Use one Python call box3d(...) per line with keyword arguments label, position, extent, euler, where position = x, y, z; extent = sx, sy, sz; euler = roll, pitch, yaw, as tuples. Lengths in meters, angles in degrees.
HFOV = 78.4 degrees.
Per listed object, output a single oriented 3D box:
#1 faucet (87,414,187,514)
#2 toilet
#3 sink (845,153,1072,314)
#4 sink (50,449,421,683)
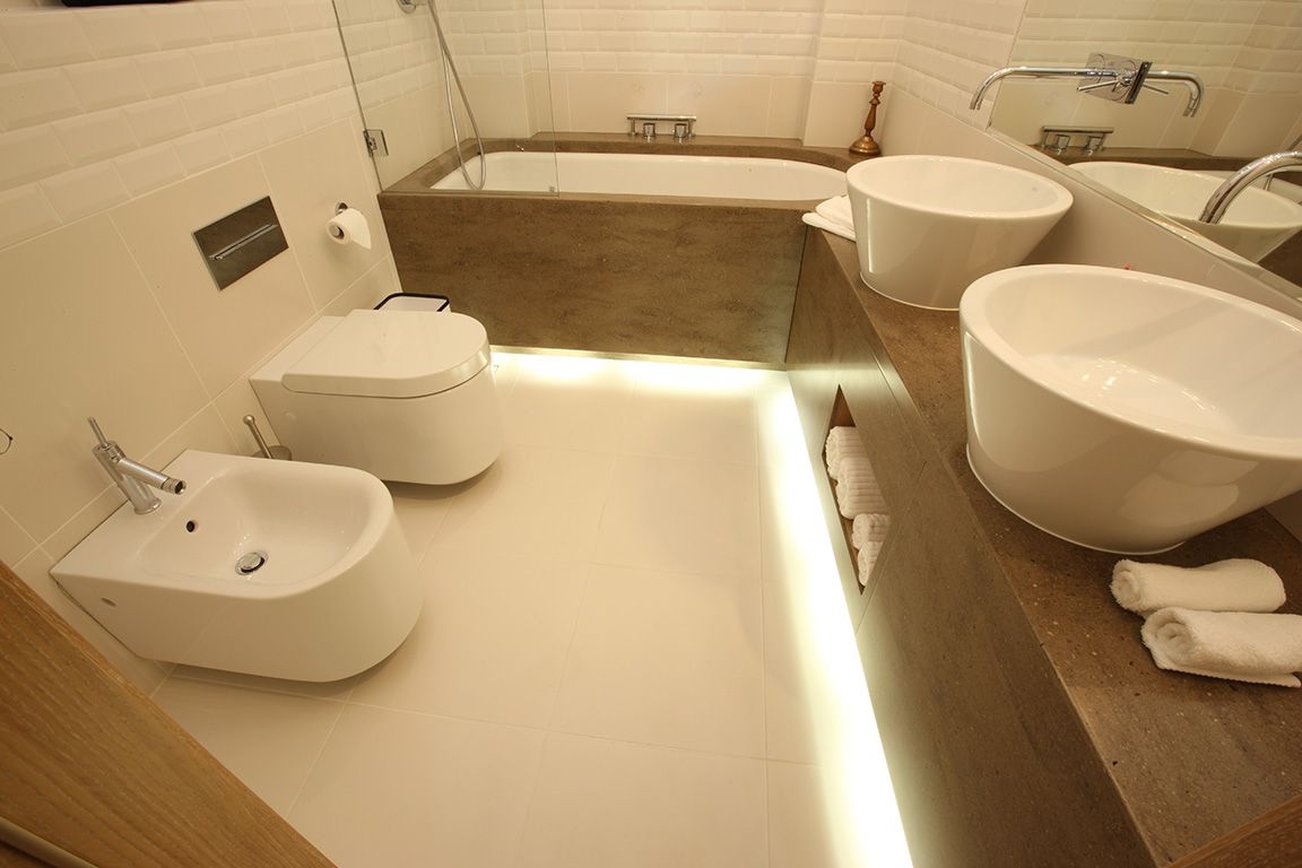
box3d(label="faucet", position=(-1.396, 0.086, 2.149), extent=(0.203, 0.198, 0.060), euler=(34, 44, -9))
box3d(label="toilet", position=(-0.874, -0.123, 2.726), extent=(0.680, 0.446, 0.503), euler=(8, 46, -5))
box3d(label="sink", position=(0.806, -0.663, 2.244), extent=(0.556, 0.283, 0.510), euler=(-11, 39, -15))
box3d(label="sink", position=(-1.064, 0.382, 2.315), extent=(0.824, 0.513, 0.543), euler=(13, 43, -2))
